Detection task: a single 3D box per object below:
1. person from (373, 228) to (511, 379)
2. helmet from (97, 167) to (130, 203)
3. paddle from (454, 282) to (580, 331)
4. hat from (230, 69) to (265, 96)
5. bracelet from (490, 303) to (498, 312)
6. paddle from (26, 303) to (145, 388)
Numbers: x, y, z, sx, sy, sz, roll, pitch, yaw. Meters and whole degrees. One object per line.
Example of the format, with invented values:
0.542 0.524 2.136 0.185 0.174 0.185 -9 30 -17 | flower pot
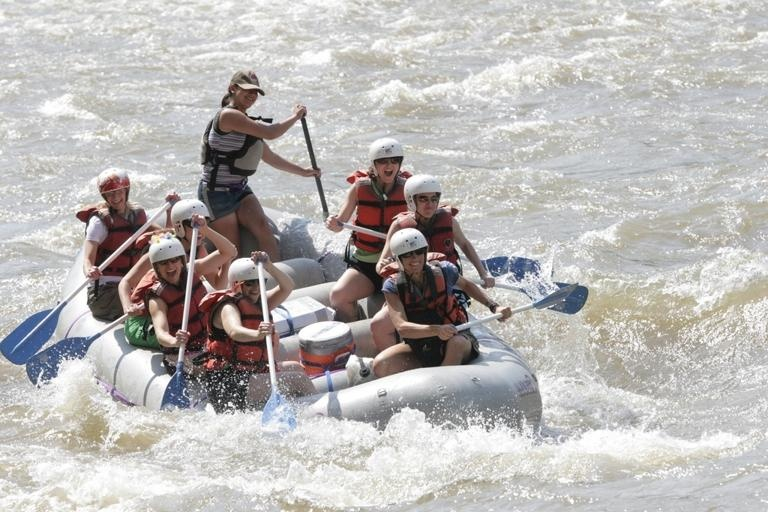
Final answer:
0.546 0.492 12.289 1.340 1.493 0.887 0 31 4 | person
-3.144 -0.886 13.539 0.344 0.334 0.384 -6 8 -3 | helmet
1.645 0.592 13.460 0.254 0.272 2.105 24 -20 -21 | paddle
-1.681 -2.128 13.844 0.375 0.276 0.458 -6 28 -7 | hat
1.212 0.559 12.567 0.093 0.055 0.108 13 -21 7 | bracelet
-3.373 1.002 12.952 1.959 0.463 0.103 -26 -4 -2 | paddle
